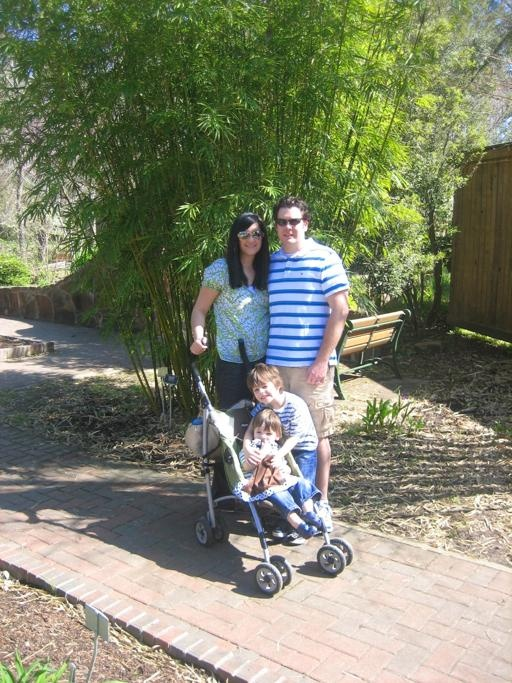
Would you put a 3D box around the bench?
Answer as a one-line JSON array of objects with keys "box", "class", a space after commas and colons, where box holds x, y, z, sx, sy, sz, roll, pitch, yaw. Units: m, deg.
[{"box": [0.964, 0.089, 5.522, 0.480, 0.692, 1.207, 8, 11, 38], "class": "bench"}]

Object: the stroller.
[{"box": [-0.058, 0.553, 2.520, 0.475, 0.865, 1.108, 0, 11, -39], "class": "stroller"}]

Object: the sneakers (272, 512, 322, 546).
[{"box": [0.168, 0.796, 2.406, 0.110, 0.147, 0.322, -48, 1, -24], "class": "sneakers"}]

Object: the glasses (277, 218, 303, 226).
[{"box": [0.138, -0.502, 2.394, 0.099, 0.037, 0.038, 0, 7, 2], "class": "glasses"}]

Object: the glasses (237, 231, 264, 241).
[{"box": [-0.023, -0.462, 2.460, 0.110, 0.041, 0.051, 0, 7, -4], "class": "glasses"}]
